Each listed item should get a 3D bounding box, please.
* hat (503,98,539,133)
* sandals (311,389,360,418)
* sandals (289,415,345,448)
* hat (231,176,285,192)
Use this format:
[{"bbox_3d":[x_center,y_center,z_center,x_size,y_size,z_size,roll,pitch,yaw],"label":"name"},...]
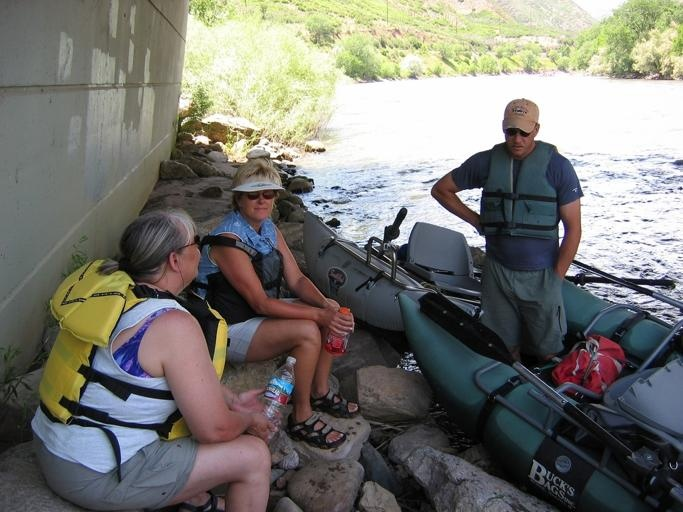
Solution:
[{"bbox_3d":[1.317,-1.022,3.273,0.249,0.247,0.276,9,18,18],"label":"hat"},{"bbox_3d":[-0.033,0.968,3.020,0.398,0.162,0.131,4,16,6],"label":"sandals"},{"bbox_3d":[-0.145,1.071,2.782,0.335,0.139,0.160,7,22,12],"label":"sandals"},{"bbox_3d":[-0.522,-0.444,2.842,0.302,0.091,0.192,-2,18,-18],"label":"hat"}]
